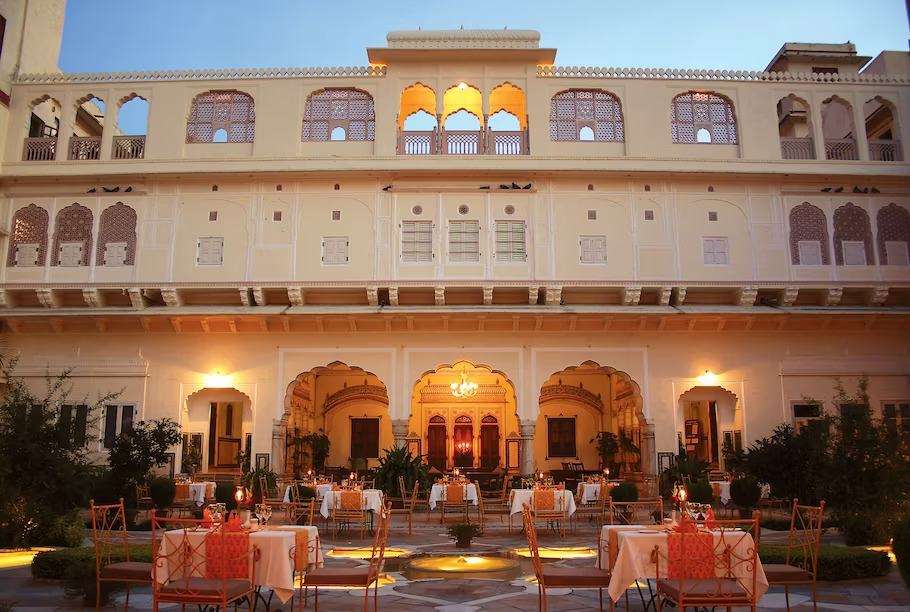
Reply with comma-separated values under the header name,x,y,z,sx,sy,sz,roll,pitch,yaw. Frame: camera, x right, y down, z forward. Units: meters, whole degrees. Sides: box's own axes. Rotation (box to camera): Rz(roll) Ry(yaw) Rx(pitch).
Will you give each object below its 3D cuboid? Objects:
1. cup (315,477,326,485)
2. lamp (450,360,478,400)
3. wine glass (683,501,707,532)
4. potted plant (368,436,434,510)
name,x,y,z,sx,sy,sz,roll,pitch,yaw
cup,-3.702,4.783,20.216,0.325,0.129,0.315,-2,-3,0
lamp,0.345,2.702,27.406,1.077,1.329,2.971,-1,-12,0
wine glass,3.643,3.242,11.452,0.310,0.471,0.318,-1,-21,3
potted plant,-1.665,4.886,21.592,1.699,1.454,1.643,0,-8,18
